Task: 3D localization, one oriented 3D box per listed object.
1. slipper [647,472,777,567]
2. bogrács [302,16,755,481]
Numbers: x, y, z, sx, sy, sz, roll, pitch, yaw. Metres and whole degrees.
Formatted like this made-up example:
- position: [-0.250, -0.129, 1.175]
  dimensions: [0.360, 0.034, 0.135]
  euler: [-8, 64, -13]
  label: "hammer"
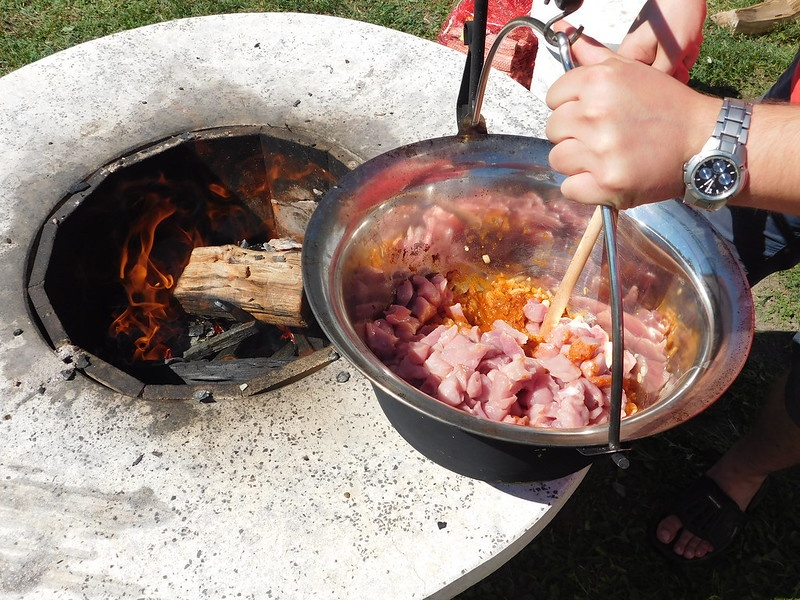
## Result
- position: [1.460, 1.044, 3.169]
  dimensions: [0.392, 0.276, 0.307]
  euler: [-16, 32, -37]
  label: "slipper"
- position: [0.432, -0.024, 2.742]
  dimensions: [1.436, 0.559, 1.447]
  euler: [-27, 64, -14]
  label: "bogrács"
